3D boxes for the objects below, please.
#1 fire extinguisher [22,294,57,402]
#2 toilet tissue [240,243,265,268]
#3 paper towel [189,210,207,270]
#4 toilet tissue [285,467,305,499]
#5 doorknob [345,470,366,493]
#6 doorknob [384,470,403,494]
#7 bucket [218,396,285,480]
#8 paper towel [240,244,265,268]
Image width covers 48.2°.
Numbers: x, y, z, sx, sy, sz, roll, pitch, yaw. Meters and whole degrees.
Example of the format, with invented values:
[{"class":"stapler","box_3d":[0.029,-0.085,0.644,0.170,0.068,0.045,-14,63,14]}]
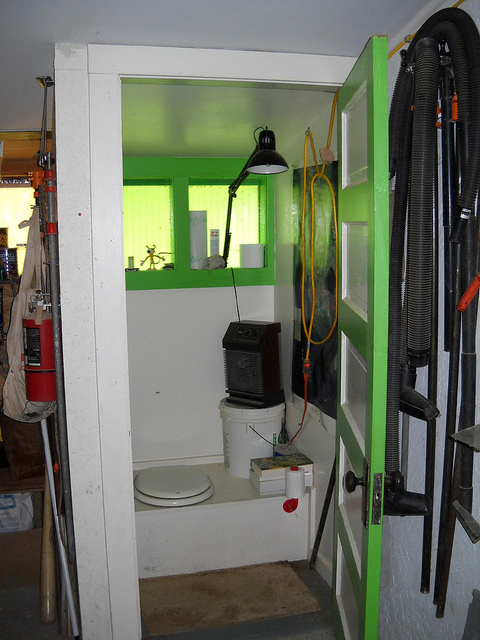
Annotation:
[{"class":"fire extinguisher","box_3d":[-0.685,0.098,1.850,0.083,0.400,0.106,-1,4,-12]},{"class":"toilet tissue","box_3d":[0.072,-0.384,3.218,0.109,0.152,0.124,-2,7,3]},{"class":"paper towel","box_3d":[-0.253,-0.493,3.224,0.111,0.382,0.040,-4,36,-10]},{"class":"toilet tissue","box_3d":[0.253,0.744,2.496,0.094,0.150,0.102,0,-2,-32]},{"class":"doorknob","box_3d":[0.265,0.374,1.235,0.040,0.047,0.094,-1,0,-4]},{"class":"doorknob","box_3d":[0.343,0.365,1.207,0.033,0.055,0.047,2,-23,5]},{"class":"bucket","box_3d":[0.071,0.593,2.814,0.293,0.468,0.304,0,4,0]},{"class":"paper towel","box_3d":[0.075,-0.386,3.216,0.109,0.154,0.124,-2,7,-1]}]
